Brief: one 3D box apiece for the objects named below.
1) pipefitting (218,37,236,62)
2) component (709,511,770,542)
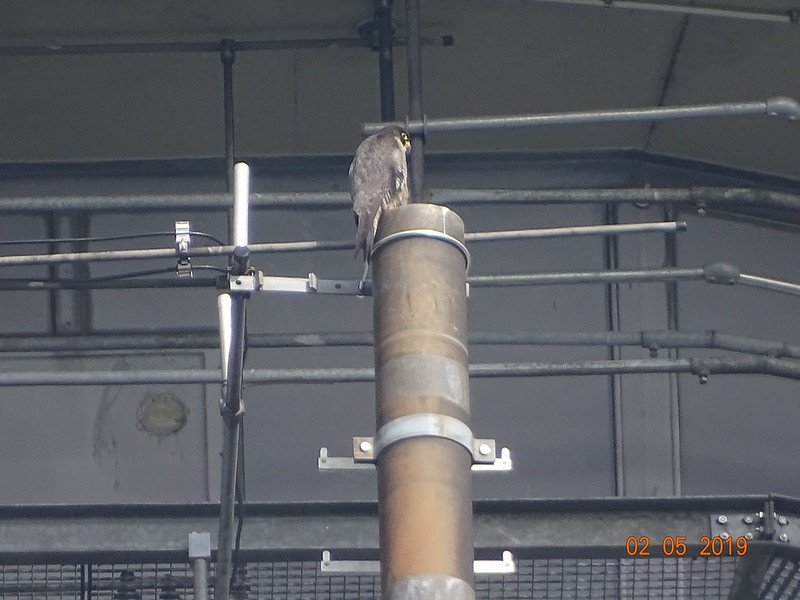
[{"bbox_3d":[-1.481,-2.107,30.398,0.133,0.247,0.210,1,-43,-2],"label":"pipefitting"},{"bbox_3d":[2.750,1.893,29.359,0.418,0.209,0.193,-1,-12,1],"label":"component"}]
